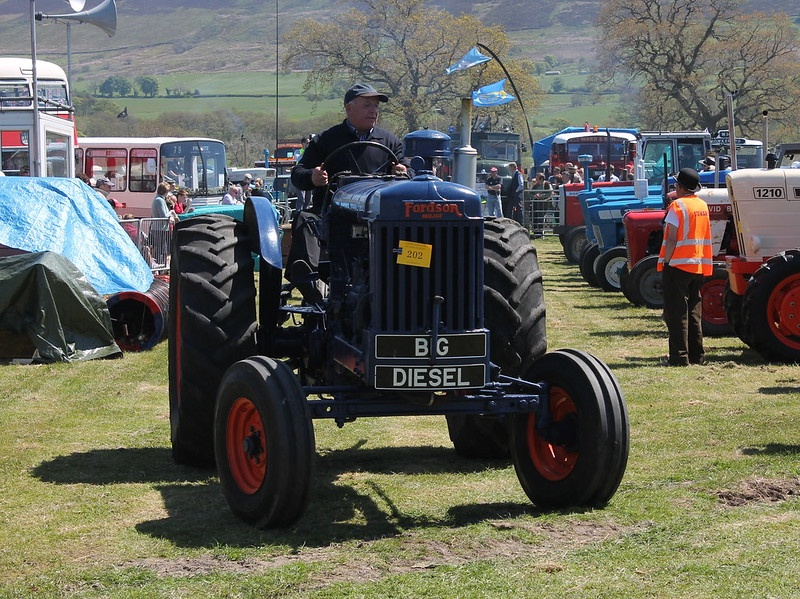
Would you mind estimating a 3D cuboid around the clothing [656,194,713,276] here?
[{"bbox_3d":[3.000,-0.665,14.307,0.483,0.797,0.309,1,12,9],"label":"clothing"}]

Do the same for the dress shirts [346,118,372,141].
[{"bbox_3d":[-0.362,-1.432,11.758,0.182,0.080,0.202,4,-12,-14],"label":"dress shirts"}]

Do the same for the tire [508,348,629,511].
[{"bbox_3d":[1.224,0.997,10.113,0.984,1.170,0.338,14,7,44],"label":"tire"}]

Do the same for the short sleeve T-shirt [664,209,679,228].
[{"bbox_3d":[2.800,-0.841,14.206,0.155,0.177,0.064,11,17,43],"label":"short sleeve T-shirt"}]

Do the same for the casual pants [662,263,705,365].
[{"bbox_3d":[2.980,0.163,14.396,0.443,1.035,0.347,-2,12,-7],"label":"casual pants"}]

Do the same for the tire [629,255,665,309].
[{"bbox_3d":[3.278,-0.219,18.217,0.640,0.659,0.265,-6,5,-7],"label":"tire"}]

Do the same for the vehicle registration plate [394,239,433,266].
[{"bbox_3d":[0.091,-0.338,9.847,0.169,0.126,0.024,8,-2,-4],"label":"vehicle registration plate"}]

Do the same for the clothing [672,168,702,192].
[{"bbox_3d":[3.010,-1.250,14.417,0.224,0.245,0.296,1,12,9],"label":"clothing"}]

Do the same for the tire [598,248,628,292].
[{"bbox_3d":[3.188,-0.448,20.553,0.594,0.612,0.215,-3,6,-1],"label":"tire"}]

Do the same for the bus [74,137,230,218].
[{"bbox_3d":[-6.512,-2.769,34.174,4.955,2.630,2.414,7,9,43],"label":"bus"}]

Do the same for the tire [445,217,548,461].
[{"bbox_3d":[0.722,0.301,10.399,0.525,1.711,1.684,1,11,-11],"label":"tire"}]

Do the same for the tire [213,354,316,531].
[{"bbox_3d":[-0.984,1.030,9.927,0.396,1.180,0.917,-10,15,-38],"label":"tire"}]

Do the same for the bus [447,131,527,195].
[{"bbox_3d":[2.117,-4.378,44.451,1.841,2.322,3.795,10,8,40],"label":"bus"}]
